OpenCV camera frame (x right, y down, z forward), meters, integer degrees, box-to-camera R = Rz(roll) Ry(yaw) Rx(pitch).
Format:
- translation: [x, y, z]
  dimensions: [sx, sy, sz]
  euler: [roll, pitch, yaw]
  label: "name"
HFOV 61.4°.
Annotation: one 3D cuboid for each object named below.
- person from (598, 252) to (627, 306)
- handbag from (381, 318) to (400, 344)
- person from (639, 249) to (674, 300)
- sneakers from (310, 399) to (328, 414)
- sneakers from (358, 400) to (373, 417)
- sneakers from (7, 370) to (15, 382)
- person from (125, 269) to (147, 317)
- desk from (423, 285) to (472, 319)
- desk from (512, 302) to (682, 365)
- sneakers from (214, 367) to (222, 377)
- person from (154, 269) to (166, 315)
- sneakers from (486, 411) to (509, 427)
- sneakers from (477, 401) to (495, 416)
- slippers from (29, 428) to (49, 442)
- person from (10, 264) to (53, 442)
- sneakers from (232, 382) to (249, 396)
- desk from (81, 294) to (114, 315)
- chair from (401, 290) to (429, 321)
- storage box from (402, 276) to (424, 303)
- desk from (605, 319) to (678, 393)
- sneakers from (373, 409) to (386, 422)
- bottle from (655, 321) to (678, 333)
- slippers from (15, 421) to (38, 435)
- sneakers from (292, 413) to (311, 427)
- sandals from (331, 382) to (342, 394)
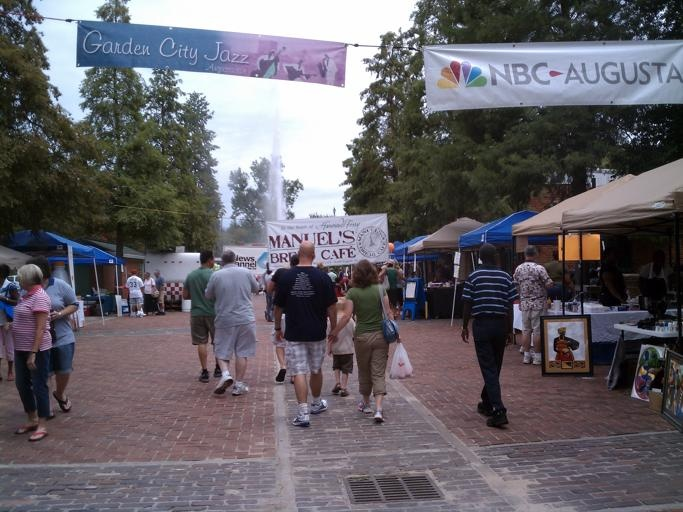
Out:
- translation: [5.182, 0.416, 11.002]
  dimensions: [0.485, 1.048, 0.890]
  euler: [0, 2, 25]
  label: "person"
- translation: [0.658, 0.991, 7.610]
  dimensions: [0.240, 0.326, 0.239]
  euler: [-2, 2, -18]
  label: "handbag"
- translation: [6.135, 0.358, 11.342]
  dimensions: [0.498, 0.906, 1.302]
  euler: [0, 2, 28]
  label: "person"
- translation: [-0.313, 2.093, 8.033]
  dimensions: [0.112, 0.139, 0.295]
  euler: [1, 6, 21]
  label: "sneakers"
- translation: [0.333, 2.098, 7.918]
  dimensions: [0.090, 0.120, 0.279]
  euler: [1, -7, -15]
  label: "sneakers"
- translation: [-6.319, 2.285, 11.052]
  dimensions: [0.120, 0.132, 0.338]
  euler: [3, -9, -29]
  label: "sneakers"
- translation: [-9.450, 1.719, 26.475]
  dimensions: [0.592, 2.104, 1.083]
  euler: [-2, 2, -23]
  label: "person"
- translation: [3.951, 1.871, 21.280]
  dimensions: [1.372, 1.066, 1.369]
  euler: [0, 1, -36]
  label: "desk"
- translation: [4.329, 1.297, 9.636]
  dimensions: [1.304, 0.618, 1.341]
  euler: [0, 1, -7]
  label: "desk"
- translation: [-2.246, 2.133, 10.551]
  dimensions: [0.137, 0.181, 0.409]
  euler: [2, -11, -12]
  label: "sneakers"
- translation: [-8.620, 1.871, 27.442]
  dimensions: [0.315, 1.780, 0.716]
  euler: [-2, 3, -22]
  label: "person"
- translation: [1.916, 2.007, 7.093]
  dimensions: [0.135, 0.162, 0.340]
  euler: [-3, -3, -7]
  label: "sneakers"
- translation: [1.914, 2.036, 7.660]
  dimensions: [0.107, 0.173, 0.234]
  euler: [0, 8, -5]
  label: "sneakers"
- translation: [-3.676, 2.168, 7.001]
  dimensions: [0.197, 0.115, 0.203]
  euler: [-2, 2, -30]
  label: "slippers"
- translation: [-3.828, 1.171, 7.160]
  dimensions: [0.415, 2.112, 0.636]
  euler: [-2, 3, -30]
  label: "person"
- translation: [-1.594, 2.122, 9.220]
  dimensions: [0.133, 0.176, 0.374]
  euler: [1, -1, 13]
  label: "sneakers"
- translation: [-11.175, 2.257, 26.364]
  dimensions: [1.298, 0.893, 0.958]
  euler: [-3, -7, 16]
  label: "desk"
- translation: [2.850, 1.865, 21.525]
  dimensions: [1.005, 1.693, 0.972]
  euler: [-4, -8, 37]
  label: "chair"
- translation: [2.769, 1.268, 21.597]
  dimensions: [0.884, 1.268, 0.744]
  euler: [-2, -5, 24]
  label: "storage box"
- translation: [4.646, 1.472, 8.693]
  dimensions: [0.955, 0.973, 0.969]
  euler: [-2, 4, -21]
  label: "desk"
- translation: [0.482, 2.061, 7.465]
  dimensions: [0.120, 0.149, 0.284]
  euler: [-1, 2, 4]
  label: "sneakers"
- translation: [4.588, 1.006, 8.162]
  dimensions: [0.191, 0.126, 0.191]
  euler: [-1, 2, 0]
  label: "bottle"
- translation: [-3.958, 2.183, 7.310]
  dimensions: [0.144, 0.129, 0.307]
  euler: [-4, -15, 16]
  label: "slippers"
- translation: [-0.502, 2.090, 7.309]
  dimensions: [0.104, 0.129, 0.289]
  euler: [1, -2, -22]
  label: "sneakers"
- translation: [-0.078, 2.115, 9.191]
  dimensions: [0.142, 0.138, 0.318]
  euler: [2, -16, -10]
  label: "sandals"
